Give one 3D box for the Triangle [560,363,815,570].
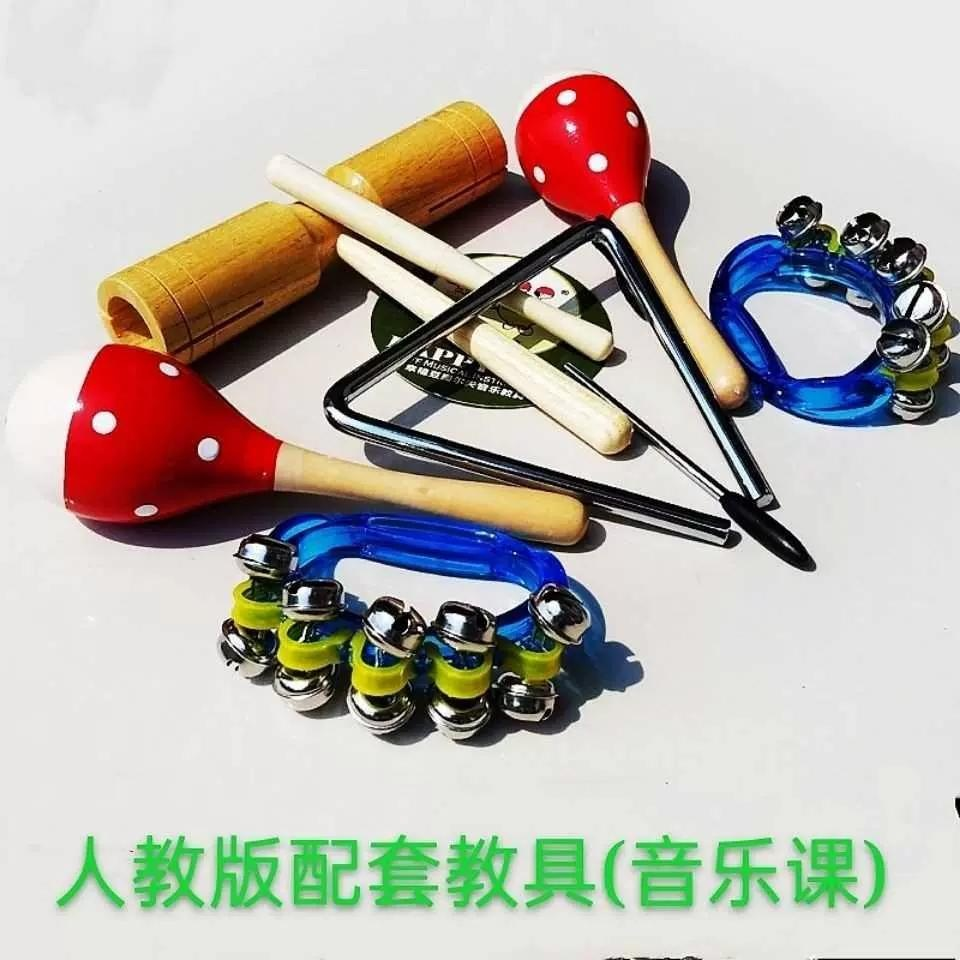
[{"bbox_3d":[0.253,0.009,1.218,0.057,0.171,0.206,-14,10,-37],"label":"Triangle"}]
